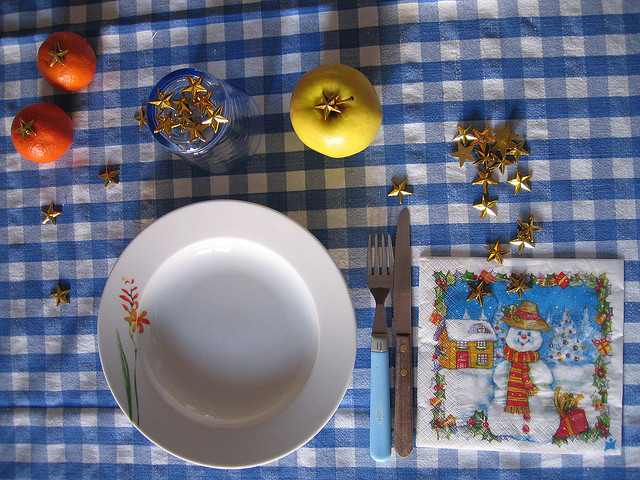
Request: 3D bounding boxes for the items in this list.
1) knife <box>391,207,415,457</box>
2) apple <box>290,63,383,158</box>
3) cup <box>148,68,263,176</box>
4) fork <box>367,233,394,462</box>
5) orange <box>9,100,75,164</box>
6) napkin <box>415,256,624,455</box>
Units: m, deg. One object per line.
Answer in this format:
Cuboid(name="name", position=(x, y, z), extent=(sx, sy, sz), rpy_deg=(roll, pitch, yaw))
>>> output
Cuboid(name="knife", position=(0.146, 0.164, 1.605), extent=(0.035, 0.037, 0.441), rpy_deg=(-1, 83, 0))
Cuboid(name="apple", position=(0.026, -0.220, 1.554), extent=(0.156, 0.112, 0.146), rpy_deg=(26, 83, 3))
Cuboid(name="cup", position=(-0.184, -0.189, 1.615), extent=(0.175, 0.236, 0.168), rpy_deg=(0, 89, 4))
Cuboid(name="fork", position=(0.108, 0.189, 1.601), extent=(0.047, 0.041, 0.403), rpy_deg=(0, 83, 0))
Cuboid(name="orange", position=(-0.495, -0.191, 1.603), extent=(0.102, 0.102, 0.112), rpy_deg=(-1, 75, -2))
Cuboid(name="napkin", position=(0.370, 0.211, 1.597), extent=(0.325, 0.071, 0.337), rpy_deg=(2, 88, 5))
